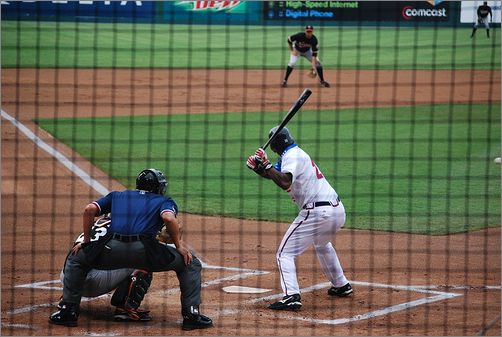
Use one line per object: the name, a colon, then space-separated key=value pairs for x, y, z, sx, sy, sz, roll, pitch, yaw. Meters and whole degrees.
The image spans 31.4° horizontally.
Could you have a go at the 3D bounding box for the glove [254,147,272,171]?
glove: x=0.281 y=-0.199 z=18.564 sx=0.348 sy=0.436 sz=0.223 roll=-23 pitch=1 yaw=38

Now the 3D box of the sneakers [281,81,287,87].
sneakers: x=1.169 y=-2.915 z=30.915 sx=0.201 sy=0.149 sz=0.047 roll=0 pitch=56 yaw=8

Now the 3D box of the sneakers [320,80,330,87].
sneakers: x=2.599 y=-2.911 z=30.736 sx=0.417 sy=0.147 sz=0.117 roll=18 pitch=42 yaw=-19
